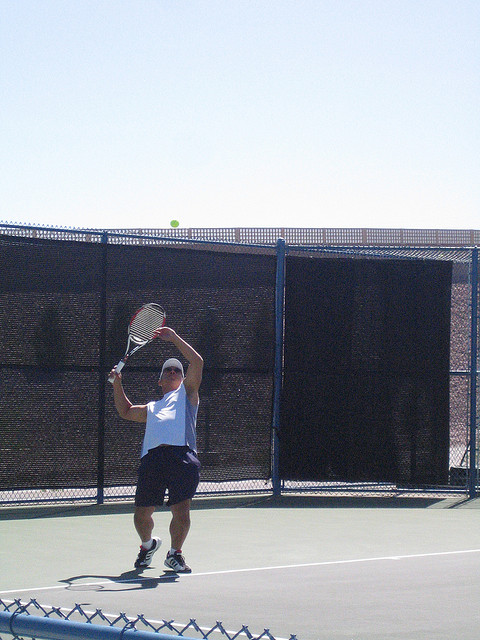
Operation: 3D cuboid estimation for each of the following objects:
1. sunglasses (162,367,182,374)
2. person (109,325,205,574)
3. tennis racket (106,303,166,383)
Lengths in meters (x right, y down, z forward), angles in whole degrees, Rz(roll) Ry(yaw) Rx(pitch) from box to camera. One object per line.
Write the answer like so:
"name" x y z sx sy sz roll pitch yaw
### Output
"sunglasses" -0.474 0.363 6.609 0.136 0.037 0.074 5 -20 -11
"person" -0.557 0.878 6.259 0.525 1.555 0.713 19 -26 -40
"tennis racket" -0.977 0.210 8.617 0.345 0.956 0.070 34 -33 1
